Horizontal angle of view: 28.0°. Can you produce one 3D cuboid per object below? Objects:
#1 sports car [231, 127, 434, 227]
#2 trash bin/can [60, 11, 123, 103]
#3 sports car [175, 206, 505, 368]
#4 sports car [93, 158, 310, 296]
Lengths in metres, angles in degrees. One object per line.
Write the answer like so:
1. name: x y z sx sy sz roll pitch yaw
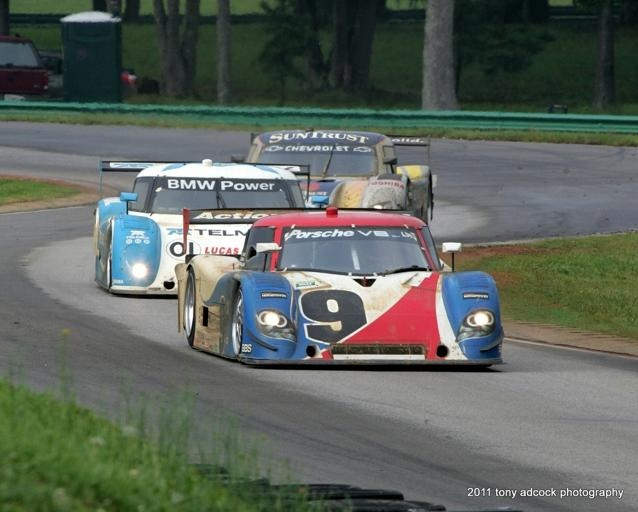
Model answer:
1. sports car: 0.212 -1.211 19.990 3.140 1.416 4.522 1 2 12
2. trash bin/can: -8.140 -7.011 45.924 2.108 3.049 1.101 -3 11 -10
3. sports car: 0.254 0.226 14.518 3.202 1.517 4.657 0 3 -14
4. sports car: -1.507 -0.619 19.020 3.431 1.497 4.977 1 11 0
